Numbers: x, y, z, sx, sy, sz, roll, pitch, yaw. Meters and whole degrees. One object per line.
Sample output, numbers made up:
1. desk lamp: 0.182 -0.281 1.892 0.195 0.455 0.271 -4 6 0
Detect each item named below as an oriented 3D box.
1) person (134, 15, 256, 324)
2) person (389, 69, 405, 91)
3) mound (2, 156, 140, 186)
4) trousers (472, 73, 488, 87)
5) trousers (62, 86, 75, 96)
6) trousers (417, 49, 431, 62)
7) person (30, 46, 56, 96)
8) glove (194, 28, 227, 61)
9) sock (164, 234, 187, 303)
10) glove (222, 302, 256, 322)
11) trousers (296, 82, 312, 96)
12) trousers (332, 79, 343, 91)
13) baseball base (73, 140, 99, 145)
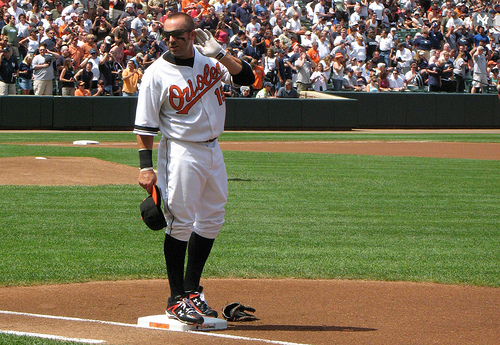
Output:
1. person: -0.810 -0.114 11.004 1.114 3.716 1.278 11 17 30
2. person: 5.123 -3.226 30.234 0.602 0.845 0.506 -11 12 -12
3. mound: -3.821 -0.026 18.223 2.770 0.190 2.051 -1 15 -11
4. trousers: 8.282 -3.408 31.443 0.741 0.645 0.412 1 9 -3
5. trousers: -5.434 -2.456 25.800 0.135 0.423 0.227 16 17 39
6. trousers: 6.285 -4.206 31.039 0.177 0.436 0.615 13 18 35
7. person: -6.045 -2.992 25.524 0.649 1.485 0.652 -8 18 -32
8. glove: -0.492 -1.651 11.075 0.394 0.398 0.277 1 15 -2
9. sock: -0.939 1.212 10.923 0.283 0.855 0.313 0 15 -6
10. glove: -0.122 1.807 11.054 0.380 0.210 0.135 7 -23 -2
11. trousers: 1.778 -2.800 28.766 0.281 0.382 0.489 -1 12 -1
12. trousers: 2.964 -3.033 29.752 0.469 0.507 0.336 -3 4 -24
13. baseball base: -4.358 -0.783 23.067 0.643 0.120 0.372 -1 15 -9
